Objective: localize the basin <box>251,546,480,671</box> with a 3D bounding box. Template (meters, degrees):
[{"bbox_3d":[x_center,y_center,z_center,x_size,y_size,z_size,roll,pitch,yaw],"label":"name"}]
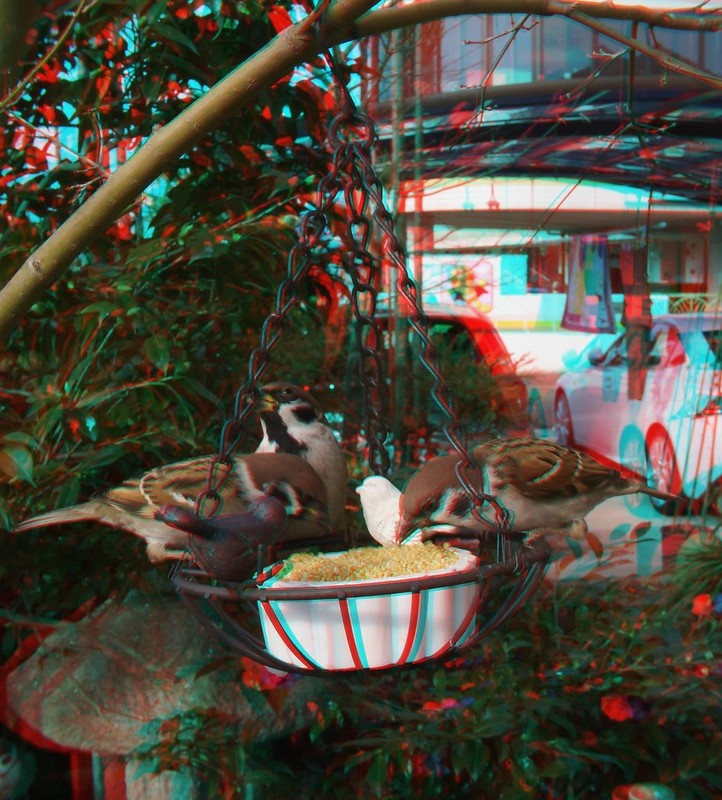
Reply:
[{"bbox_3d":[0.018,0.249,0.878,0.267,0.081,0.206,-2,-1,-7],"label":"basin"}]

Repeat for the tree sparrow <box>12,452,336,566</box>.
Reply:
[{"bbox_3d":[-0.306,0.167,1.224,0.590,0.177,0.159,5,4,18],"label":"tree sparrow"}]

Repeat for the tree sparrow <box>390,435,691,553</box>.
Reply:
[{"bbox_3d":[0.292,0.142,1.257,0.579,0.179,0.186,-13,4,-34],"label":"tree sparrow"}]

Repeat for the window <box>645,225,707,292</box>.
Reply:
[{"bbox_3d":[0.738,-0.321,1.740,0.197,0.150,0.016,-4,8,-25],"label":"window"}]
